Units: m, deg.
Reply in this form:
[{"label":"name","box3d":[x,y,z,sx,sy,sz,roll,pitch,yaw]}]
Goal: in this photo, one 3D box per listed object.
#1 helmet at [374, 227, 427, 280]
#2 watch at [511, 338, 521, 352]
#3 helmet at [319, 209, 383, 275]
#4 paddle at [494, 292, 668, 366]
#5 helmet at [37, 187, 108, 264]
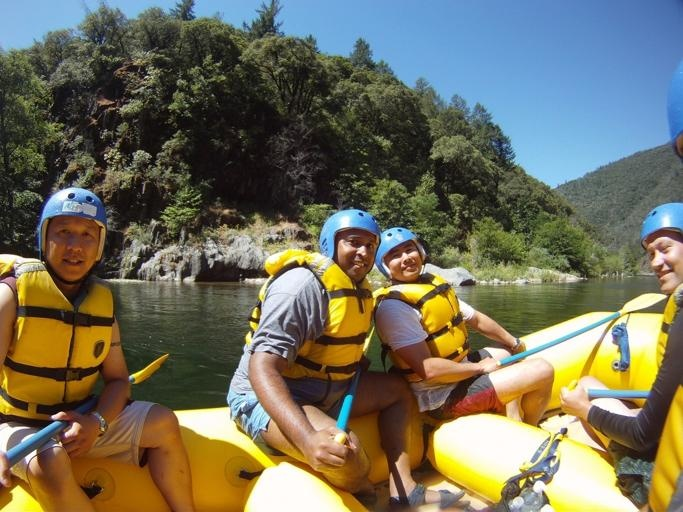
[{"label":"helmet","box3d":[0.361,-0.012,3.199,0.263,0.271,0.340,-24,-5,-5]},{"label":"watch","box3d":[1.223,0.628,3.504,0.046,0.086,0.066,8,-8,3]},{"label":"helmet","box3d":[0.039,-0.087,2.948,0.271,0.308,0.374,12,-5,-26]},{"label":"paddle","box3d":[2.354,0.722,5.143,2.134,0.130,0.250,-25,-3,-2]},{"label":"helmet","box3d":[-1.270,-0.173,2.505,0.276,0.377,0.370,13,-19,-34]}]
